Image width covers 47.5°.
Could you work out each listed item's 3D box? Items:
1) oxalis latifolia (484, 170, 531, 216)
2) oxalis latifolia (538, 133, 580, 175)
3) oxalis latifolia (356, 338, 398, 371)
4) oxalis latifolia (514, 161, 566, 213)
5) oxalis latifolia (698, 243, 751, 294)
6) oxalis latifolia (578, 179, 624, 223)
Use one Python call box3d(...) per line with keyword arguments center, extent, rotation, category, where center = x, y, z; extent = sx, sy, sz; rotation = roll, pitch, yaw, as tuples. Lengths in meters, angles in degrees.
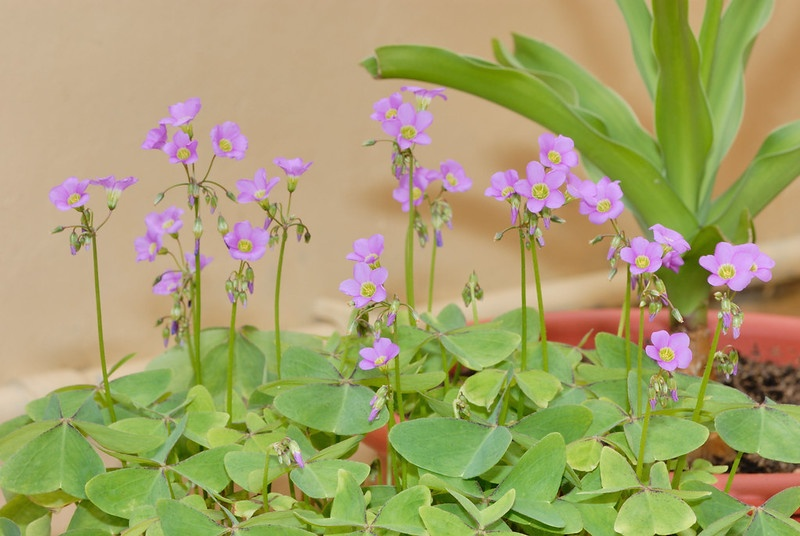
box3d(center=(0.158, -0.117, 1.325), extent=(0.048, 0.024, 0.072), rotation=(13, -13, -25), category="oxalis latifolia")
box3d(center=(0.224, -0.171, 1.342), extent=(0.059, 0.036, 0.071), rotation=(-5, -9, 21), category="oxalis latifolia")
box3d(center=(-0.033, 0.125, 1.289), extent=(0.054, 0.042, 0.096), rotation=(-6, -15, -4), category="oxalis latifolia")
box3d(center=(0.199, -0.116, 1.279), extent=(0.072, 0.076, 0.050), rotation=(3, -16, -33), category="oxalis latifolia")
box3d(center=(0.452, -0.003, 1.249), extent=(0.069, 0.038, 0.092), rotation=(0, 14, -5), category="oxalis latifolia")
box3d(center=(0.298, -0.090, 1.347), extent=(0.057, 0.071, 0.031), rotation=(-19, -19, 5), category="oxalis latifolia")
